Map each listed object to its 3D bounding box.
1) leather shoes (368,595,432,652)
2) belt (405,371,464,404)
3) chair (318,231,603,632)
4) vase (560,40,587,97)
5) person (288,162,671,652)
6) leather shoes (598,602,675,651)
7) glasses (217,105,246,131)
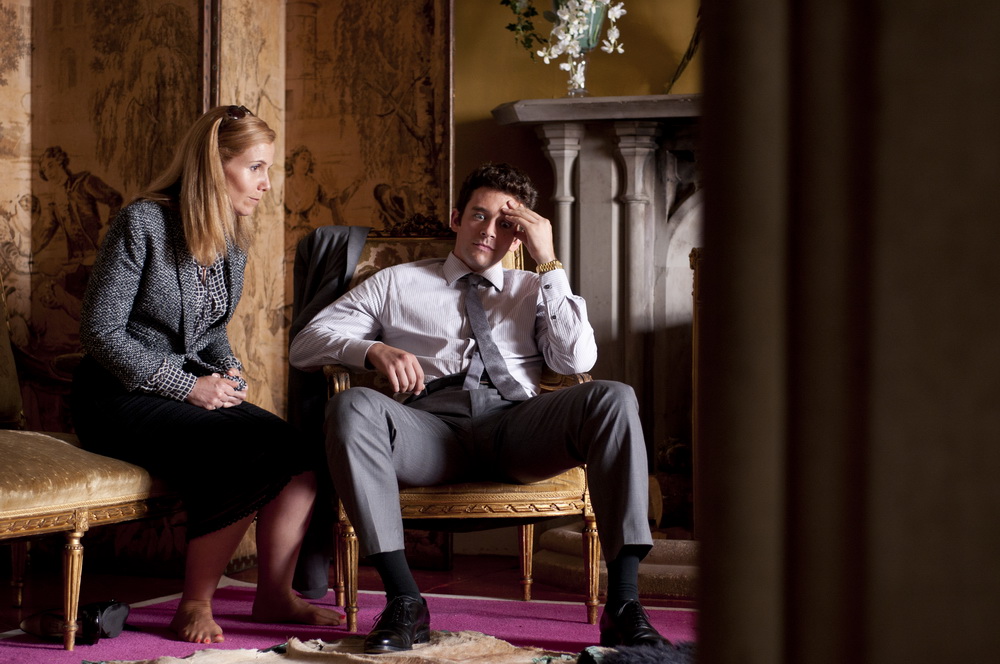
[{"bbox_3d":[-0.213,0.616,1.820,0.088,0.120,0.197,-10,-5,13],"label":"leather shoes"},{"bbox_3d":[-0.177,0.133,2.279,0.119,0.048,0.086,-23,-1,-2],"label":"belt"},{"bbox_3d":[-0.126,0.239,2.354,0.733,1.176,0.627,-8,-5,-3],"label":"chair"},{"bbox_3d":[0.253,-0.915,3.070,0.113,0.143,0.105,-12,-6,39],"label":"vase"},{"bbox_3d":[-0.048,0.330,2.462,0.968,1.524,1.182,4,-27,-11],"label":"person"},{"bbox_3d":[0.254,0.587,1.729,0.062,0.080,0.184,2,-12,-28],"label":"leather shoes"},{"bbox_3d":[-0.686,-0.556,2.226,0.052,0.072,0.027,5,-40,1],"label":"glasses"}]
